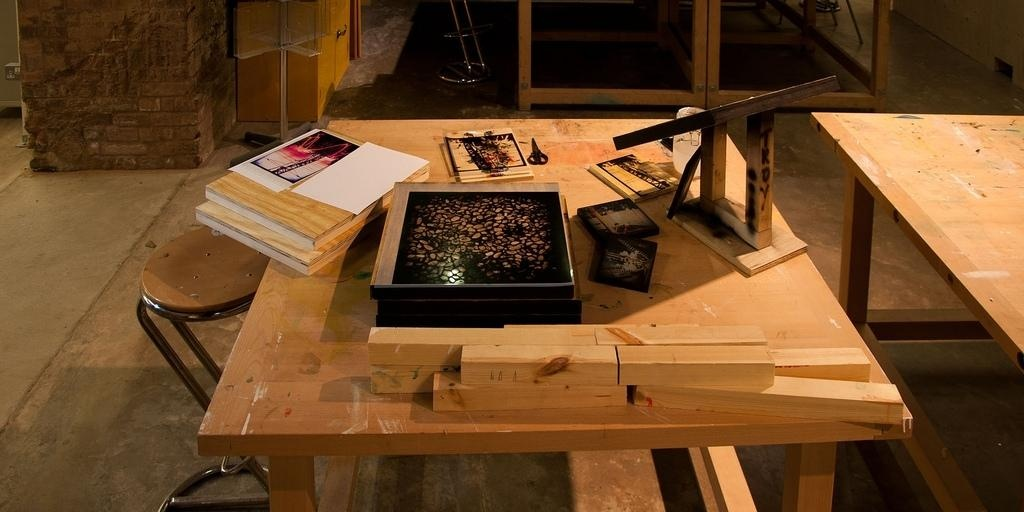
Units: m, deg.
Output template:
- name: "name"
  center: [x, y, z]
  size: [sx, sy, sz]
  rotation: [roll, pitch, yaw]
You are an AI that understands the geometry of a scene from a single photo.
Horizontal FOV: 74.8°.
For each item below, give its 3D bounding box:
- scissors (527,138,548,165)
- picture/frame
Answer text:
- name: "scissors"
  center: [0.113, -0.471, 3.022]
  size: [0.079, 0.019, 0.140]
  rotation: [-3, 37, -3]
- name: "picture/frame"
  center: [-0.117, -0.016, 2.437]
  size: [0.682, 0.133, 0.559]
  rotation: [1, 46, 0]
